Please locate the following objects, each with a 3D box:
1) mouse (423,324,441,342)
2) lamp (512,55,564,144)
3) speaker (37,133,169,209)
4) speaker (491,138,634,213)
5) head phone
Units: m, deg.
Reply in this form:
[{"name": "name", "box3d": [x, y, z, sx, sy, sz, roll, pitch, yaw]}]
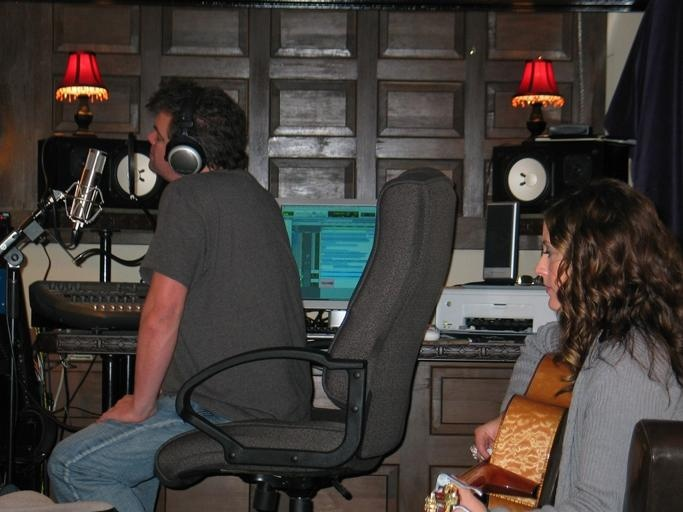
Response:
[{"name": "mouse", "box3d": [0.325, 0.273, 3.352, 0.068, 0.041, 0.068, 1, -2, 6]}, {"name": "lamp", "box3d": [0.941, -0.744, 4.488, 0.258, 0.424, 0.427, 3, 1, 12]}, {"name": "speaker", "box3d": [-0.997, -0.371, 4.074, 0.543, 0.318, 0.302, -1, 13, -17]}, {"name": "speaker", "box3d": [0.907, -0.378, 4.158, 0.495, 0.311, 0.282, -1, 21, 7]}, {"name": "head phone", "box3d": [-0.487, -0.400, 2.975, 0.134, 0.264, 0.222, 5, -18, -1]}]
